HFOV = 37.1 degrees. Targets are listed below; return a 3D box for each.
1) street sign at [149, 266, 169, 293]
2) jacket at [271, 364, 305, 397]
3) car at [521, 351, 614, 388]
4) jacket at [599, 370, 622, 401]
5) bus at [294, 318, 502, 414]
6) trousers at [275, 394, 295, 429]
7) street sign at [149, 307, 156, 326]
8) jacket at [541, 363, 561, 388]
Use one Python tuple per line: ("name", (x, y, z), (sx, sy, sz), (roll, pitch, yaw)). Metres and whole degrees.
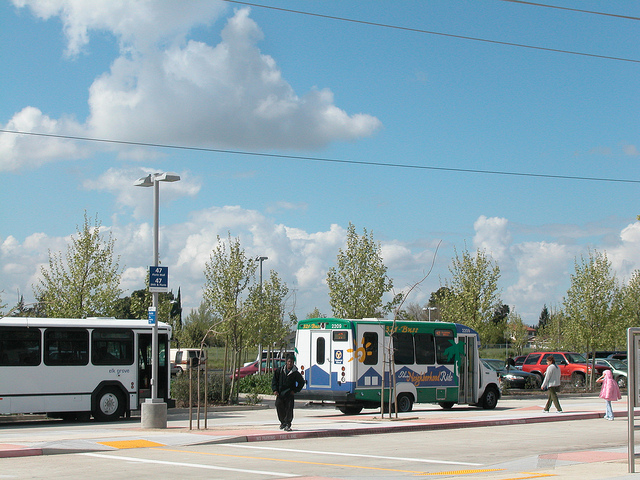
("street sign", (-4.831, 1.172, 28.395), (0.695, 1.053, 0.101), (3, -6, -32))
("jacket", (-0.978, 4.339, 28.934), (0.942, 1.051, 0.531), (8, 1, 9))
("car", (13.553, 7.479, 53.823), (4.254, 2.248, 2.426), (-6, -11, 35))
("jacket", (10.106, 5.070, 33.331), (0.592, 1.040, 0.782), (1, -1, 2))
("bus", (3.194, 4.795, 36.002), (8.213, 3.871, 2.997), (4, -7, -40))
("trousers", (-1.082, 5.120, 28.421), (0.488, 0.960, 0.460), (1, -8, -3))
("street sign", (-5.356, 2.463, 30.333), (0.203, 0.597, 0.525), (2, -8, -10))
("jacket", (8.395, 4.968, 34.702), (0.607, 0.834, 0.523), (-1, -8, 8))
